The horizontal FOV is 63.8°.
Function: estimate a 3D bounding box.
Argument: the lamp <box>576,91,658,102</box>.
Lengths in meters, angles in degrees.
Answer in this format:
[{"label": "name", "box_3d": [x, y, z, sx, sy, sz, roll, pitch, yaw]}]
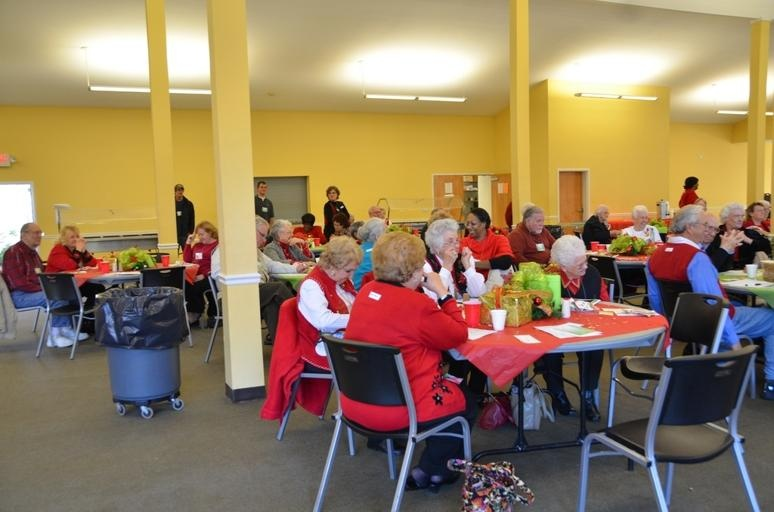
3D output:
[{"label": "lamp", "box_3d": [5.195, -3.556, 13.878, 2.249, 0.215, 0.622, -7, 11, -24]}]

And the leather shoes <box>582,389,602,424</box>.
[{"label": "leather shoes", "box_3d": [1.778, 1.301, 5.381, 0.117, 0.251, 0.261, 6, 6, -1]}]

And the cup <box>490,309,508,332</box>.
[{"label": "cup", "box_3d": [0.822, 0.477, 4.603, 0.147, 0.148, 0.141, 0, -4, 0]}]

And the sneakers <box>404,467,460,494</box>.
[{"label": "sneakers", "box_3d": [0.352, 1.678, 4.730, 0.461, 0.183, 0.156, 6, 5, 0]}]

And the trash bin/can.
[{"label": "trash bin/can", "box_3d": [-2.343, 0.910, 5.947, 0.814, 1.145, 0.798, -1, 5, -40]}]

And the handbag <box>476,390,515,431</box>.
[{"label": "handbag", "box_3d": [0.914, 1.326, 5.432, 0.214, 0.344, 0.353, 12, 8, 11]}]

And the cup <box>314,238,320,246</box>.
[{"label": "cup", "box_3d": [-1.100, -0.212, 9.826, 0.111, 0.117, 0.110, -1, -3, 0]}]

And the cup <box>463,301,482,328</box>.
[{"label": "cup", "box_3d": [0.650, 0.450, 4.730, 0.172, 0.189, 0.174, -2, 0, 0]}]

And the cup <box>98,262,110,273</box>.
[{"label": "cup", "box_3d": [-3.459, 0.143, 7.621, 0.139, 0.111, 0.145, -1, -5, 0]}]

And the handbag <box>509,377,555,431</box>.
[{"label": "handbag", "box_3d": [1.214, 1.258, 5.338, 0.327, 0.369, 0.380, -4, 3, 12]}]

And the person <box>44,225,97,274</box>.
[{"label": "person", "box_3d": [-4.157, 0.006, 8.102, 0.657, 0.782, 0.618, -1, 9, -25]}]

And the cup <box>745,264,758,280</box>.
[{"label": "cup", "box_3d": [3.614, 0.161, 6.140, 0.144, 0.146, 0.175, -1, -5, 5]}]
